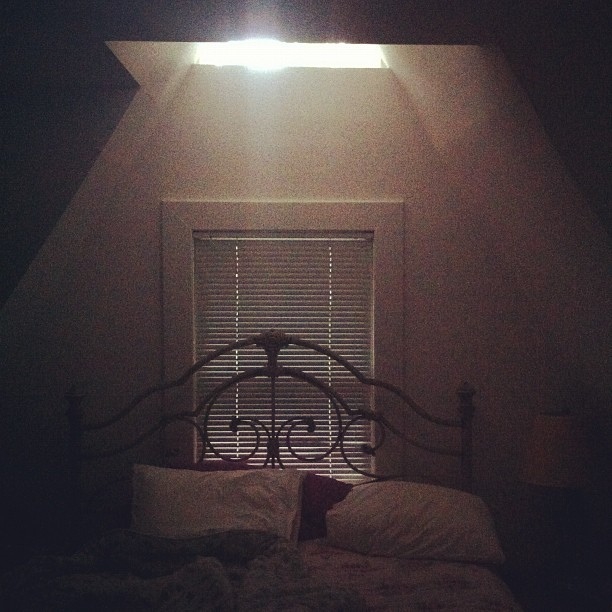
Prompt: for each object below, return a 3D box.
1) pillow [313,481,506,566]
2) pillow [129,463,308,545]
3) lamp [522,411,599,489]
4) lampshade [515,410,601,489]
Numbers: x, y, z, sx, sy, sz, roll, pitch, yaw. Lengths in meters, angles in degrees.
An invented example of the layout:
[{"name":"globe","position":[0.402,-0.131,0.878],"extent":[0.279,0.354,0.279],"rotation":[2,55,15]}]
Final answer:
[{"name":"pillow","position":[0.173,0.289,1.308],"extent":[0.332,0.131,0.289],"rotation":[-1,-6,13]},{"name":"pillow","position":[-0.137,0.295,1.218],"extent":[0.203,0.152,0.056],"rotation":[2,-5,-4]},{"name":"lamp","position":[0.392,0.220,1.299],"extent":[0.068,0.129,0.106],"rotation":[2,6,20]},{"name":"lampshade","position":[0.390,0.223,1.299],"extent":[0.119,0.112,0.105],"rotation":[2,7,34]}]
